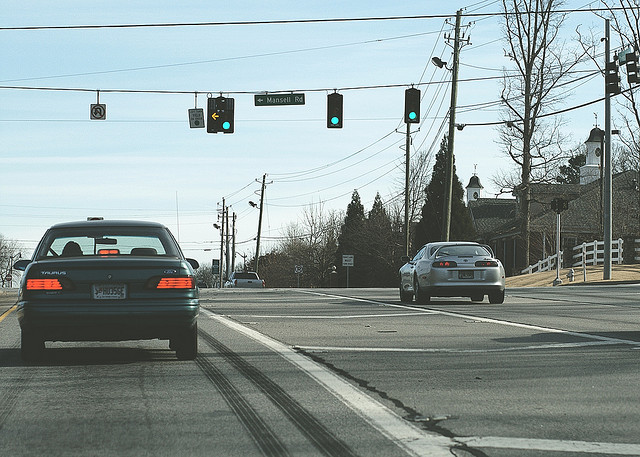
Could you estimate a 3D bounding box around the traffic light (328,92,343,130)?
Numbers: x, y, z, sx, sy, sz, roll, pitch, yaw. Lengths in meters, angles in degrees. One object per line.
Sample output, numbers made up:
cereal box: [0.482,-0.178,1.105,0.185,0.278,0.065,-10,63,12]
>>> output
traffic light: [0.486,-3.824,30.726,0.494,0.973,0.605,-4,-2,1]

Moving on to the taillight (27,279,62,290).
taillight: [-3.741,0.739,12.724,0.349,0.158,0.083,-1,-6,2]

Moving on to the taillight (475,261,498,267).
taillight: [4.088,0.841,23.212,0.568,0.121,0.077,-3,-2,-16]

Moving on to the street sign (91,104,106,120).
street sign: [-7.463,-3.895,31.754,0.425,0.346,0.179,-3,-2,-5]

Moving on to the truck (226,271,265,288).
truck: [-4.504,3.017,56.248,1.227,0.887,2.708,0,0,-14]

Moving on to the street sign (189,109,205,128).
street sign: [-4.251,-3.771,32.542,0.481,0.475,0.294,-3,-2,-13]

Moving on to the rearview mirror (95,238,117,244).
rearview mirror: [-3.105,0.171,13.602,0.456,0.059,0.104,-1,-2,-3]

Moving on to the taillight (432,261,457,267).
taillight: [3.080,0.855,23.201,0.583,0.124,0.117,-4,-2,9]

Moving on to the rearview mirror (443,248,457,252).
rearview mirror: [3.265,0.519,23.658,0.335,0.085,0.156,-3,-2,1]

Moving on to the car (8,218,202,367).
car: [-3.116,0.879,13.922,2.298,1.366,3.415,0,-2,-9]

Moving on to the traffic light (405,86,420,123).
traffic light: [2.922,-3.877,29.909,0.500,0.990,0.723,-4,-2,6]

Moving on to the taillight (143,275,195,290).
taillight: [-2.088,0.733,12.983,0.692,0.146,0.104,-3,-2,-18]
